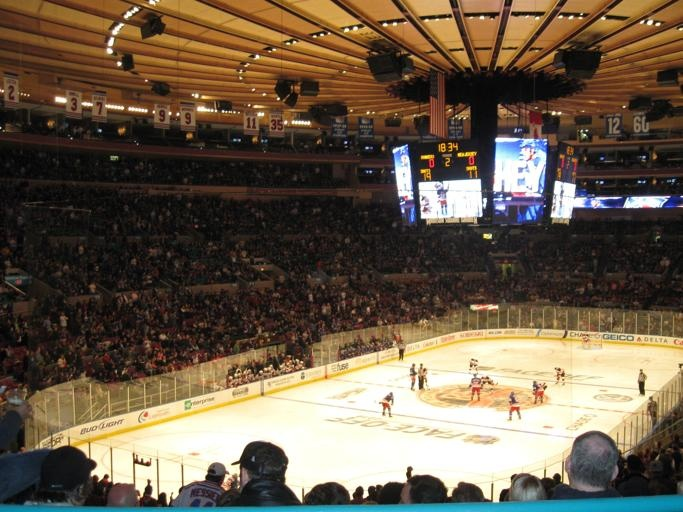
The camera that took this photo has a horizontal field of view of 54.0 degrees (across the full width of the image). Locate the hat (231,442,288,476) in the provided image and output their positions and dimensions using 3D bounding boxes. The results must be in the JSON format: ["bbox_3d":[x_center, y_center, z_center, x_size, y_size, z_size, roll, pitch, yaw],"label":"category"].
[{"bbox_3d":[-0.876,2.179,7.267,0.487,0.261,0.336,4,-1,23],"label":"hat"}]

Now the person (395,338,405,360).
[{"bbox_3d":[2.998,4.656,34.154,0.421,1.158,0.785,0,3,8],"label":"person"}]

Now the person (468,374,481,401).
[{"bbox_3d":[5.329,5.171,26.610,0.442,0.942,1.104,0,3,10],"label":"person"}]

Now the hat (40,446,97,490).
[{"bbox_3d":[-2.776,2.132,6.901,0.410,0.268,0.511,12,25,10],"label":"hat"}]

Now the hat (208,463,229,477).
[{"bbox_3d":[-1.638,2.831,8.902,0.209,0.100,0.296,6,7,8],"label":"hat"}]

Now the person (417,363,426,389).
[{"bbox_3d":[3.339,5.009,28.013,0.340,1.122,0.893,0,3,8],"label":"person"}]
